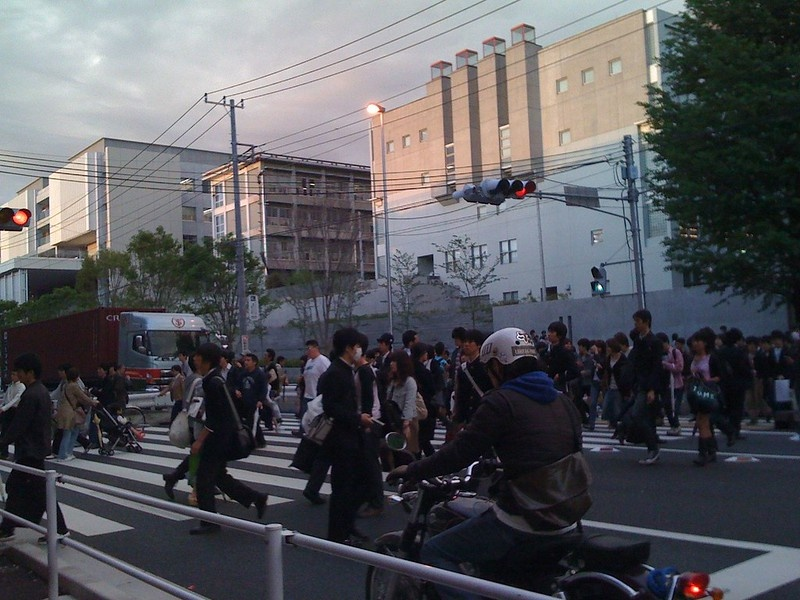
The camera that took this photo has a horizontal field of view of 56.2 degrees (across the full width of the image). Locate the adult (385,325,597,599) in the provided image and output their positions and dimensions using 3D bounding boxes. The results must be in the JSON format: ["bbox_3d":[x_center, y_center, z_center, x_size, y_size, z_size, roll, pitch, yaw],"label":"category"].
[{"bbox_3d":[0.983,1.126,5.823,1.486,2.350,1.357,2,-8,38],"label":"adult"}]

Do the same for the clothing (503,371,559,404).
[{"bbox_3d":[0.900,0.582,4.996,0.260,0.140,0.224,3,-5,-31],"label":"clothing"}]

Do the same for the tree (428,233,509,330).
[{"bbox_3d":[5.103,-2.328,54.762,4.799,7.938,4.589,-10,18,-10],"label":"tree"}]

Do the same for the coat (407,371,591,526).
[{"bbox_3d":[0.681,0.990,5.079,1.213,0.882,0.849,15,-17,-31],"label":"coat"}]

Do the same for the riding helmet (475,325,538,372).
[{"bbox_3d":[0.757,0.338,5.218,0.247,0.267,0.324,8,0,-35],"label":"riding helmet"}]
